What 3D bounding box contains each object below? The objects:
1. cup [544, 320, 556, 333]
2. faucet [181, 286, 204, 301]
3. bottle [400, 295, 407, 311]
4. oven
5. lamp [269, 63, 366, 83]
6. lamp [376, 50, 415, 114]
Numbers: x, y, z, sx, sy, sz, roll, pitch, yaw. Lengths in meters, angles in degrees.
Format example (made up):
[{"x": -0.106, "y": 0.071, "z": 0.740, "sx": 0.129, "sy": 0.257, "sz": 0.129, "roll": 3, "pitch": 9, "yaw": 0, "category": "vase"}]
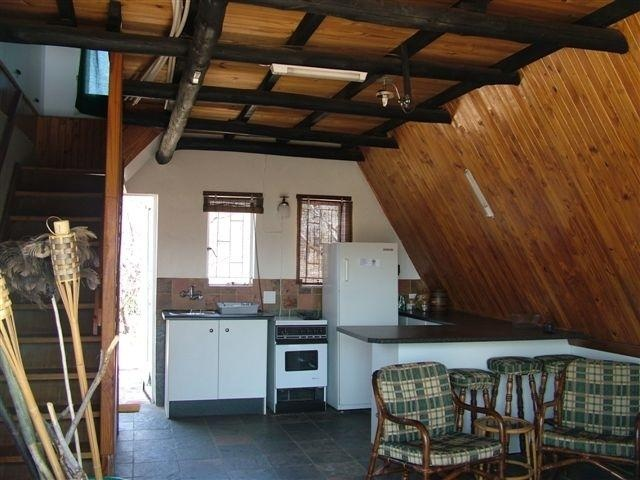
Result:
[{"x": 2.339, "y": 0.884, "z": 5.446, "sx": 0.122, "sy": 0.096, "sz": 0.113, "roll": 0, "pitch": -8, "yaw": 0, "category": "cup"}, {"x": -1.610, "y": 0.671, "z": 6.735, "sx": 0.257, "sy": 0.159, "sz": 0.081, "roll": 0, "pitch": 0, "yaw": -20, "category": "faucet"}, {"x": 1.136, "y": 0.861, "z": 7.394, "sx": 0.087, "sy": 0.183, "sz": 0.199, "roll": 0, "pitch": 1, "yaw": 9, "category": "bottle"}, {"x": -0.382, "y": 1.556, "z": 6.695, "sx": 0.767, "sy": 1.069, "sz": 0.868, "roll": 6, "pitch": -17, "yaw": -29, "category": "oven"}, {"x": -0.023, "y": -1.359, "z": 4.345, "sx": 0.830, "sy": 0.123, "sz": 0.073, "roll": 4, "pitch": -11, "yaw": -9, "category": "lamp"}, {"x": 0.592, "y": -1.285, "z": 4.291, "sx": 0.301, "sy": 0.480, "sz": 0.166, "roll": -10, "pitch": 28, "yaw": -6, "category": "lamp"}]
